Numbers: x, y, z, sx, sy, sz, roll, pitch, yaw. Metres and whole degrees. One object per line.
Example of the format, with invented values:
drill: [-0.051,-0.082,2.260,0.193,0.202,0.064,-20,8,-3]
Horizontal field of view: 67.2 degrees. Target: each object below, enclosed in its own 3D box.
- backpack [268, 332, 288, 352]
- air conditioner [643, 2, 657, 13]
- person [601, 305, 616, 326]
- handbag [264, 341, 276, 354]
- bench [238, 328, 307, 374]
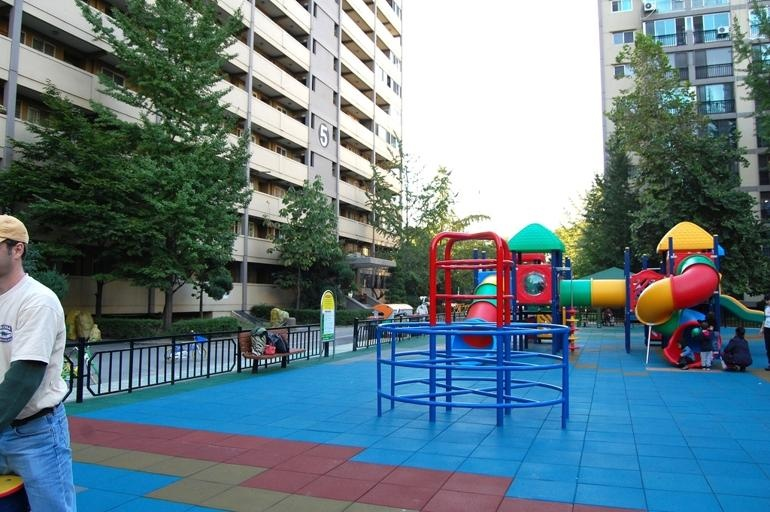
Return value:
backpack: [-3.316,2.664,17.878,0.511,0.472,0.275,-8,34,31]
air conditioner: [22.926,-21.671,50.322,1.034,0.836,0.585,-2,-6,1]
person: [15.593,4.237,40.655,0.779,1.187,2.482,-4,-7,18]
handbag: [-3.462,2.819,17.576,0.318,0.287,0.221,4,-6,4]
bench: [-3.454,2.872,17.917,0.943,1.138,2.475,-4,-3,26]
